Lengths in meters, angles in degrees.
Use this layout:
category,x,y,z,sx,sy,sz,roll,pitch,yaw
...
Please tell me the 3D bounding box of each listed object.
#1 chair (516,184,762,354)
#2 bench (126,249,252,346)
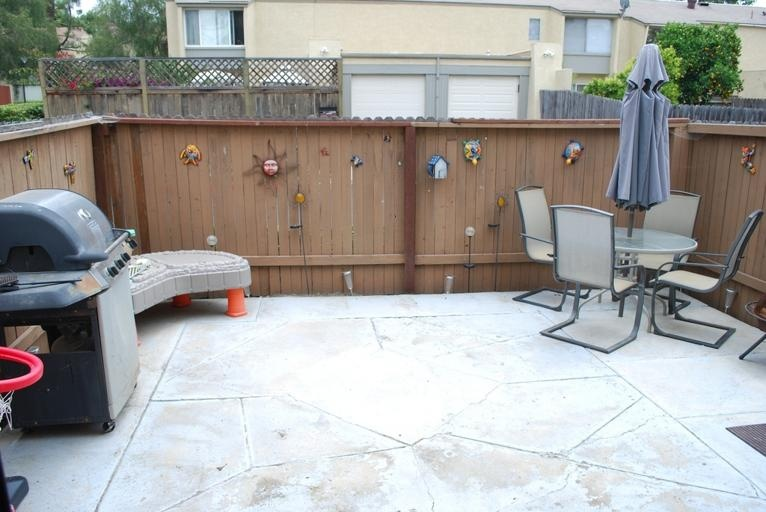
category,x,y,z,sx,sy,sz,roll,pitch,yaw
chair,2.919,0.130,6.284,2.190,1.525,1.472,-2,16,-3
bench,-2.355,0.408,6.425,1.361,0.789,1.072,-11,19,-32
